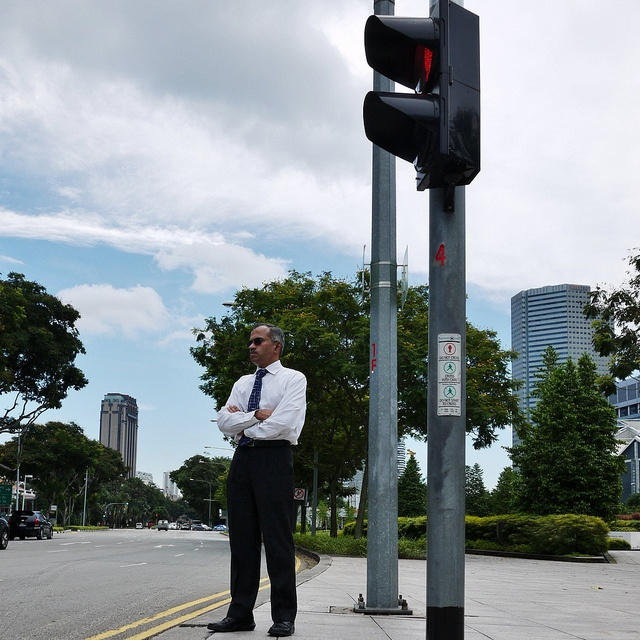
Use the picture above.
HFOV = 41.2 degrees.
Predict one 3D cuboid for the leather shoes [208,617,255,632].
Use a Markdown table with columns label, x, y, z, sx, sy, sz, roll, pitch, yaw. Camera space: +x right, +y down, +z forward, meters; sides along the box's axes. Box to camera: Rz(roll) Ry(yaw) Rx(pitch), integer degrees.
| label | x | y | z | sx | sy | sz | roll | pitch | yaw |
| --- | --- | --- | --- | --- | --- | --- | --- | --- | --- |
| leather shoes | -0.586 | 2.014 | 5.607 | 0.285 | 0.132 | 0.107 | 8 | -16 | -2 |

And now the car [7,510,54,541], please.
| label | x | y | z | sx | sy | sz | roll | pitch | yaw |
| --- | --- | --- | --- | --- | --- | --- | --- | --- | --- |
| car | -11.645 | 8.226 | 34.460 | 1.496 | 1.225 | 3.344 | 0 | -6 | -6 |

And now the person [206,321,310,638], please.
| label | x | y | z | sx | sy | sz | roll | pitch | yaw |
| --- | --- | --- | --- | --- | --- | --- | --- | --- | --- |
| person | -0.411 | 1.029 | 5.825 | 0.635 | 2.104 | 0.498 | -2 | -12 | 9 |

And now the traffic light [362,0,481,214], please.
| label | x | y | z | sx | sy | sz | roll | pitch | yaw |
| --- | --- | --- | --- | --- | --- | --- | --- | --- | --- |
| traffic light | 0.508 | -1.103 | 4.243 | 0.570 | 0.888 | 0.382 | -2 | -12 | 10 |

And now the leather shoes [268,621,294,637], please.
| label | x | y | z | sx | sy | sz | roll | pitch | yaw |
| --- | --- | --- | --- | --- | --- | --- | --- | --- | --- |
| leather shoes | -0.264 | 1.981 | 5.463 | 0.068 | 0.079 | 0.185 | -9 | -17 | 42 |
